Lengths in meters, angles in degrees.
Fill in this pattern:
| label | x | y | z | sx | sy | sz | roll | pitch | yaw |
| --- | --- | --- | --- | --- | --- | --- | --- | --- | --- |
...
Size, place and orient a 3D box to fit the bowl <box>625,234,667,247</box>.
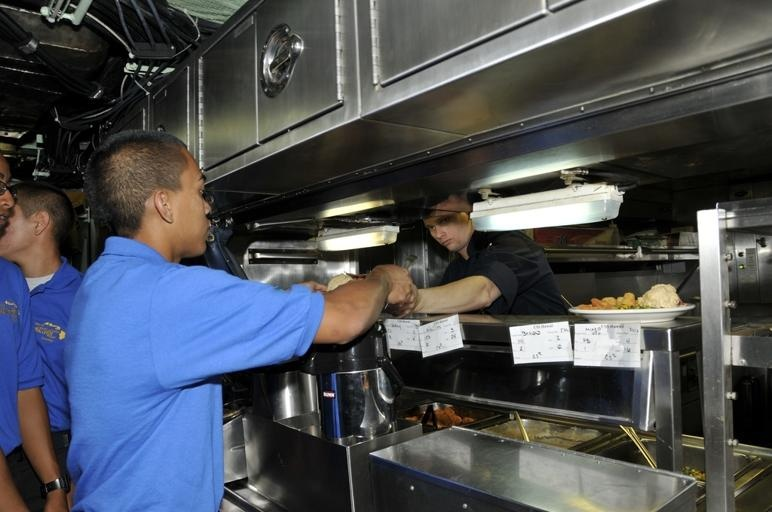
| label | x | y | z | sx | sy | sz | roll | pitch | yaw |
| --- | --- | --- | --- | --- | --- | --- | --- | --- | --- |
| bowl | 2.097 | -0.119 | 4.684 | 0.496 | 0.087 | 0.207 | -4 | 5 | -29 |
